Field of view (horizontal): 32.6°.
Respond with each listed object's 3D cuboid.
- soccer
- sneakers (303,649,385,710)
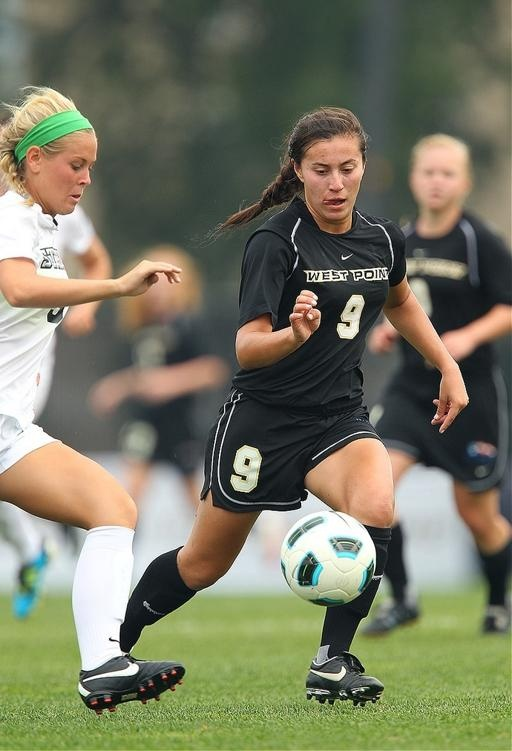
[{"bbox_3d":[0.209,0.518,2.444,0.285,0.254,0.265,6,5,17],"label":"soccer"},{"bbox_3d":[0.251,0.840,2.427,0.262,0.130,0.117,-17,-38,43],"label":"sneakers"}]
